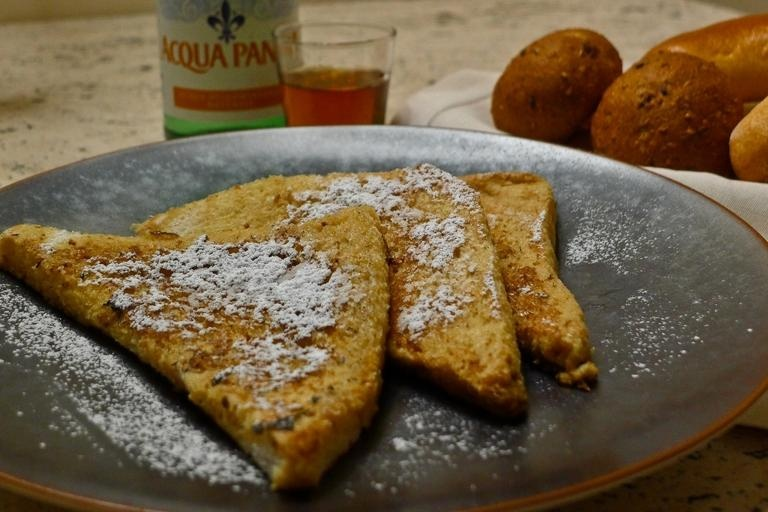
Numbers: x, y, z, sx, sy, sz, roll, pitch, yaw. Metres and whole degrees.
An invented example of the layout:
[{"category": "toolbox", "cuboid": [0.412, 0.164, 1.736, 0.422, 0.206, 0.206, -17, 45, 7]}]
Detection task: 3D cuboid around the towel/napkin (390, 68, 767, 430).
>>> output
[{"category": "towel/napkin", "cuboid": [0.307, -0.032, 1.382, 0.554, 0.164, 0.568, 10, 36, 21]}]
